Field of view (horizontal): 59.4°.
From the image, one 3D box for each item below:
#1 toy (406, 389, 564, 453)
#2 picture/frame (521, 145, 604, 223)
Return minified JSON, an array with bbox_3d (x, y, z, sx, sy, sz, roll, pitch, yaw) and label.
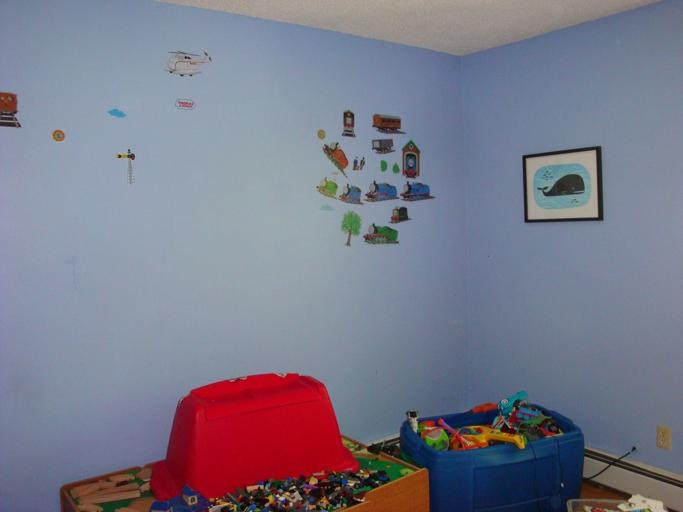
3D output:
[{"bbox_3d":[0.809,0.954,3.285,0.529,0.204,0.383,-5,-10,-16],"label":"toy"},{"bbox_3d":[1.403,-0.454,3.742,0.052,0.464,0.529,-1,0,-39],"label":"picture/frame"}]
